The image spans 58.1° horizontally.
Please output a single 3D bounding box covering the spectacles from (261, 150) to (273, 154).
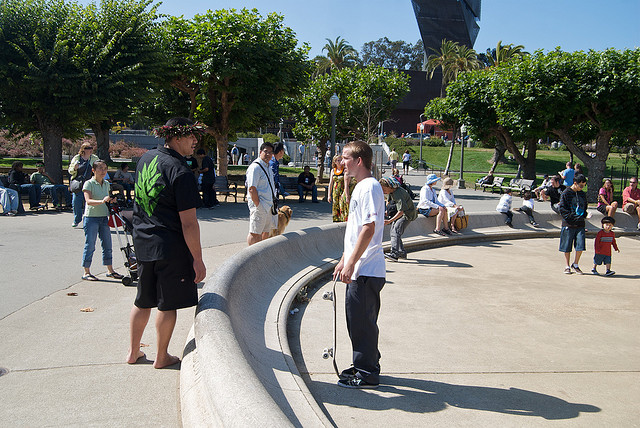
[{"bbox_3d":[-1.047,-1.251,11.641,0.079,0.072,0.241,7,7,42],"label":"spectacles"}]

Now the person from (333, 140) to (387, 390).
[{"bbox_3d":[0.571,0.726,8.131,0.660,3.519,0.651,5,6,28],"label":"person"}]

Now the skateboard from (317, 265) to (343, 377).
[{"bbox_3d":[0.157,1.674,9.313,0.218,1.649,0.439,1,3,8],"label":"skateboard"}]

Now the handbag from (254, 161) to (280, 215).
[{"bbox_3d":[-1.070,-0.528,11.843,0.236,1.088,0.628,7,7,40],"label":"handbag"}]

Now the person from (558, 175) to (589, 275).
[{"bbox_3d":[5.965,0.231,13.581,0.634,2.304,0.761,4,6,23],"label":"person"}]

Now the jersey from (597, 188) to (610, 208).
[{"bbox_3d":[9.774,-0.555,19.846,0.515,0.737,0.266,1,3,5],"label":"jersey"}]

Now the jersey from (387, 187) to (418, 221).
[{"bbox_3d":[1.948,-0.248,13.597,0.682,0.778,0.395,3,6,6],"label":"jersey"}]

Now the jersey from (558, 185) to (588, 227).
[{"bbox_3d":[5.870,-0.175,13.356,0.599,0.954,0.310,4,6,18],"label":"jersey"}]

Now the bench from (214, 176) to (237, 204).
[{"bbox_3d":[-3.911,-1.155,23.227,1.131,0.903,0.637,10,24,37],"label":"bench"}]

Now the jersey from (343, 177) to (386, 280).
[{"bbox_3d":[0.637,0.191,8.067,0.583,1.420,0.336,2,6,1],"label":"jersey"}]

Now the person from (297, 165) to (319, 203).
[{"bbox_3d":[-0.556,-1.226,23.804,0.905,1.644,0.996,1,-1,-31],"label":"person"}]

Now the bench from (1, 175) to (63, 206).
[{"bbox_3d":[-9.520,-0.764,18.923,0.487,0.778,1.181,-2,-4,36],"label":"bench"}]

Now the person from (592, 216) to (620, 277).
[{"bbox_3d":[6.773,0.748,13.608,0.492,1.362,0.688,5,6,27],"label":"person"}]

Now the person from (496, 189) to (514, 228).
[{"bbox_3d":[6.012,-0.116,18.582,0.536,1.050,0.661,4,6,18],"label":"person"}]

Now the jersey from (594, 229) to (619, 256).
[{"bbox_3d":[6.932,0.719,13.928,0.661,0.770,0.407,0,-2,1],"label":"jersey"}]

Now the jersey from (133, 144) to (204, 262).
[{"bbox_3d":[-2.277,-0.131,8.287,1.269,1.533,0.814,0,5,34],"label":"jersey"}]

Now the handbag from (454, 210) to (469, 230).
[{"bbox_3d":[4.276,0.170,17.129,0.553,0.585,0.393,-16,19,-35],"label":"handbag"}]

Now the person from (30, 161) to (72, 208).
[{"bbox_3d":[-9.081,-0.980,19.370,1.343,1.747,0.885,-5,-2,16],"label":"person"}]

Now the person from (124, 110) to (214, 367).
[{"bbox_3d":[-2.210,0.380,8.360,1.320,3.536,1.049,2,1,23],"label":"person"}]

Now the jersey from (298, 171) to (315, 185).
[{"bbox_3d":[-0.570,-1.448,23.943,0.796,0.682,0.453,0,-1,-10],"label":"jersey"}]

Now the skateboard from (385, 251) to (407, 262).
[{"bbox_3d":[1.897,1.048,14.056,0.594,0.270,0.217,4,0,-15],"label":"skateboard"}]

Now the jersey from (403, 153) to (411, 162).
[{"bbox_3d":[6.484,-4.208,43.214,0.307,0.526,0.940,4,5,18],"label":"jersey"}]

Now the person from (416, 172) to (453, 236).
[{"bbox_3d":[3.196,-0.250,16.285,0.941,1.739,1.529,5,6,26],"label":"person"}]
